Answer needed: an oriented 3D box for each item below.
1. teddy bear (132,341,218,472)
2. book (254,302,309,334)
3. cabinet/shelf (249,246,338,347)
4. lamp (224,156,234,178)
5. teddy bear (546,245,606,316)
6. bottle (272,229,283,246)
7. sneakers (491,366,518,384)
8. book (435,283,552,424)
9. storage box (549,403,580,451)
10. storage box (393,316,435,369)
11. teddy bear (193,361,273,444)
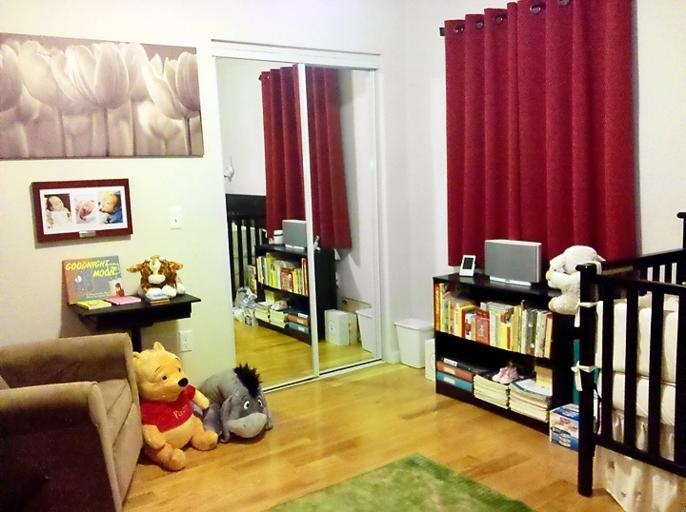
[{"bbox_3d":[-0.975,0.854,3.067,0.421,0.618,0.428,-7,12,-23],"label":"teddy bear"},{"bbox_3d":[-0.487,0.445,4.046,0.333,0.108,0.249,1,6,-43],"label":"book"},{"bbox_3d":[-0.421,0.302,4.039,0.726,0.724,0.263,-1,5,-32],"label":"cabinet/shelf"},{"bbox_3d":[-0.793,-0.622,3.633,0.048,0.124,0.084,-5,3,6],"label":"lamp"},{"bbox_3d":[1.375,0.140,3.067,0.325,0.402,0.252,3,1,-25],"label":"teddy bear"},{"bbox_3d":[-0.491,-0.145,3.939,0.072,0.105,0.107,2,6,9],"label":"bottle"},{"bbox_3d":[1.049,0.769,3.393,0.129,0.048,0.092,-12,1,-35],"label":"sneakers"},{"bbox_3d":[0.994,0.631,3.407,0.249,0.686,0.761,-6,10,-34],"label":"book"},{"bbox_3d":[1.266,0.967,3.012,0.217,0.170,0.219,-10,12,-41],"label":"storage box"},{"bbox_3d":[0.545,0.636,4.322,0.301,0.438,0.427,-6,9,-38],"label":"storage box"},{"bbox_3d":[-0.702,0.893,3.345,0.479,0.356,0.375,0,2,41],"label":"teddy bear"}]
